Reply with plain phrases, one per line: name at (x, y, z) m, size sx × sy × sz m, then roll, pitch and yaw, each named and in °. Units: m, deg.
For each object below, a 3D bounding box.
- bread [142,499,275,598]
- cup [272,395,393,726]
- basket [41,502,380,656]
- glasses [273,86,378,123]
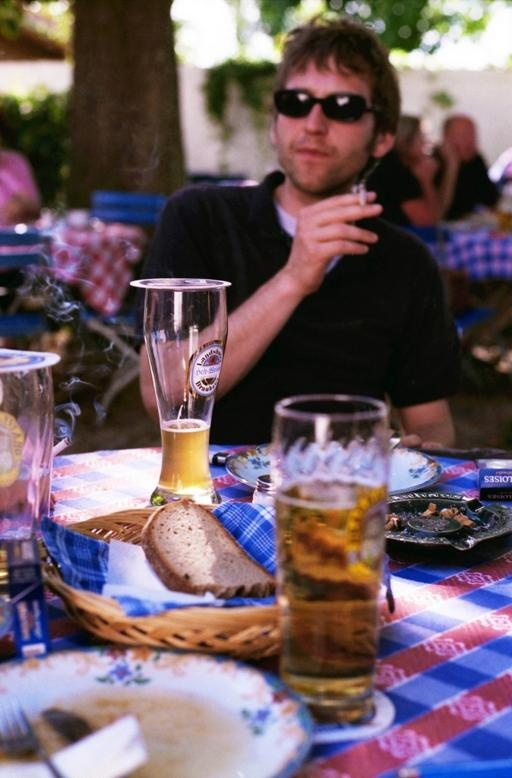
bread at (-0.051, 0.161, 0.688) m, size 0.084 × 0.024 × 0.164 m, roll -10°, pitch 24°, yaw -32°
cup at (0.048, 0.126, 0.486) m, size 0.078 × 0.229 × 0.050 m, roll 2°, pitch 13°, yaw 7°
basket at (-0.077, 0.148, 0.550) m, size 0.135 × 0.030 × 0.124 m, roll 10°, pitch 13°, yaw 28°
glasses at (0.172, -0.754, 1.865) m, size 0.239 × 0.079 × 0.066 m, roll 1°, pitch 12°, yaw 0°
